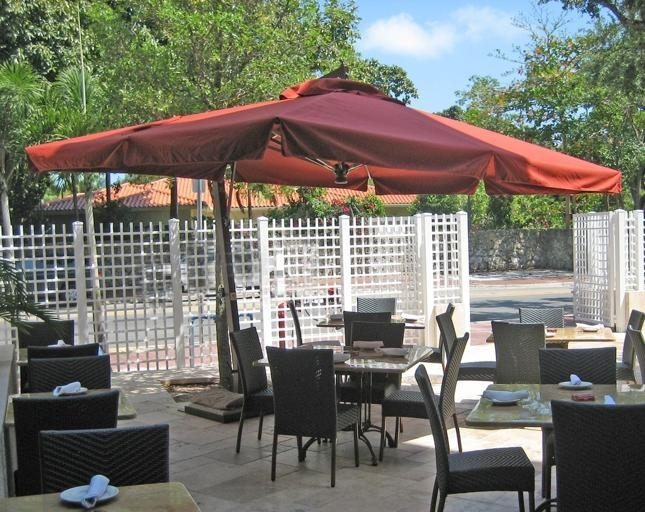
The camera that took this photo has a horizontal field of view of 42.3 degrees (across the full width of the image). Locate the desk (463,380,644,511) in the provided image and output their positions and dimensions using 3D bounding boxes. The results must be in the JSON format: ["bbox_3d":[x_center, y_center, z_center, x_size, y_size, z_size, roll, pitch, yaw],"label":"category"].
[{"bbox_3d":[1.984,1.873,7.591,1.290,0.828,1.333,-1,-4,3],"label":"desk"}]

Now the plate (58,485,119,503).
[{"bbox_3d":[-1.773,1.776,6.225,0.443,0.126,0.219,1,4,5],"label":"plate"}]

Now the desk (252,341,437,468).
[{"bbox_3d":[0.659,1.355,9.437,1.459,1.006,1.524,2,5,34],"label":"desk"}]
